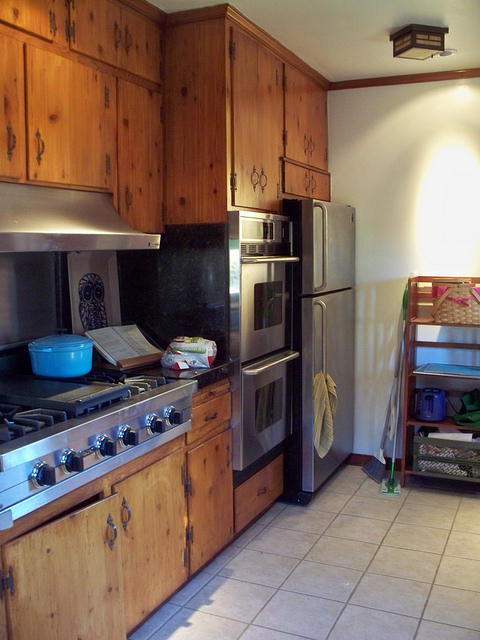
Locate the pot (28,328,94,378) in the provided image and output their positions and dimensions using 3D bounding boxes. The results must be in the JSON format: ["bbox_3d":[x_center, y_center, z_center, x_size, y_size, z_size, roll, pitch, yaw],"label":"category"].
[{"bbox_3d":[-0.620,0.099,1.786,0.154,0.170,0.168,6,9,-1],"label":"pot"}]

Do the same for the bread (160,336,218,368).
[{"bbox_3d":[-0.217,0.106,2.132,0.182,0.142,0.198,-1,12,-28],"label":"bread"}]

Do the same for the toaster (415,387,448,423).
[{"bbox_3d":[1.177,0.529,3.172,0.139,0.230,0.196,0,-2,17],"label":"toaster"}]

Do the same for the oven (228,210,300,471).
[{"bbox_3d":[0.087,0.056,2.429,0.325,1.302,0.558,2,5,28],"label":"oven"}]
